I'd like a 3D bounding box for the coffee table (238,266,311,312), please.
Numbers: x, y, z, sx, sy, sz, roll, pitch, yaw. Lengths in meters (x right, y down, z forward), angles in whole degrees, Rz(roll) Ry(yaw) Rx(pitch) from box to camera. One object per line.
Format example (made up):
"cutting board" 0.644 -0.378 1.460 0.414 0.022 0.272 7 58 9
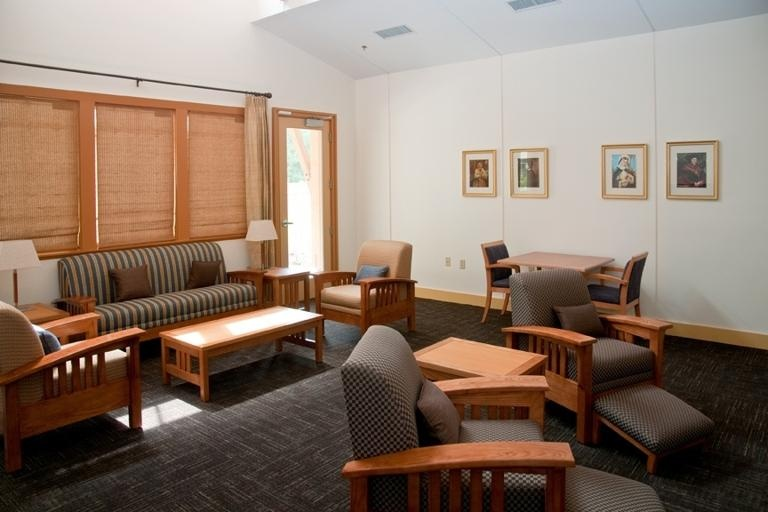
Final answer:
"coffee table" -1.391 0.509 6.730 0.956 0.639 0.935 -6 0 21

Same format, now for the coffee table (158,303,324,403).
"coffee table" -1.550 0.889 5.338 0.743 0.408 1.322 8 18 38

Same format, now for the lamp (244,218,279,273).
"lamp" -1.576 -0.297 6.790 0.370 0.604 0.368 7 12 40

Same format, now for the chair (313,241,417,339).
"chair" -0.257 0.391 6.476 1.047 1.091 1.166 -7 8 -30

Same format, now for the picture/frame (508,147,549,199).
"picture/frame" 2.002 -1.155 6.952 0.774 0.870 0.070 3 4 35

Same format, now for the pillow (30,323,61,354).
"pillow" -2.656 0.664 3.966 0.125 0.185 0.269 -5 13 -44

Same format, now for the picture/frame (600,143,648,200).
"picture/frame" 3.003 -1.056 6.293 0.034 0.461 0.657 2 23 -43

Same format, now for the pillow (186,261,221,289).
"pillow" -2.291 0.245 6.358 0.364 0.296 0.120 -5 5 -32

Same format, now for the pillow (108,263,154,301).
"pillow" -2.905 0.330 5.847 0.442 0.373 0.357 -9 17 -29
